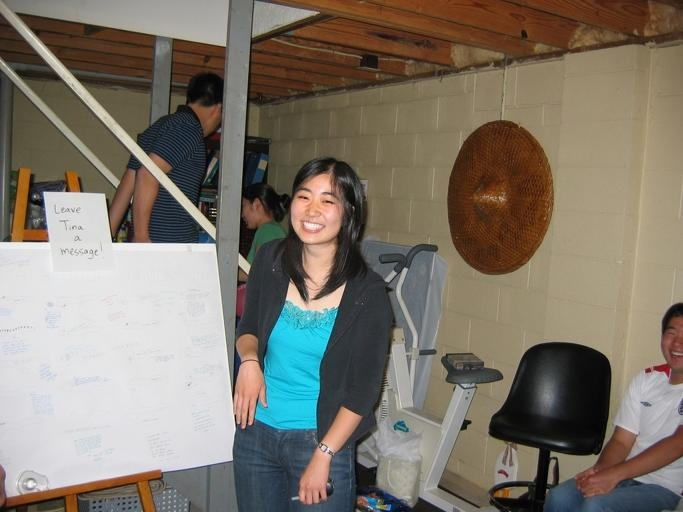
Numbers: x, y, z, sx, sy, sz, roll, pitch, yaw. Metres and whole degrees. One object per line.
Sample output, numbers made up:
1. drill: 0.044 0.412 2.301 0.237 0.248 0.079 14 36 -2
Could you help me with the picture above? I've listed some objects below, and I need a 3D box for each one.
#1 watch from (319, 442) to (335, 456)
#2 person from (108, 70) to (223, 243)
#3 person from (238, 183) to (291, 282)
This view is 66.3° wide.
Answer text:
1. watch: -0.047 0.631 1.746 0.042 0.016 0.043 36 -10 -13
2. person: -0.891 -0.533 2.758 0.561 0.942 0.823 0 7 -25
3. person: -0.655 -0.161 4.451 0.496 0.846 0.593 3 -3 -18
